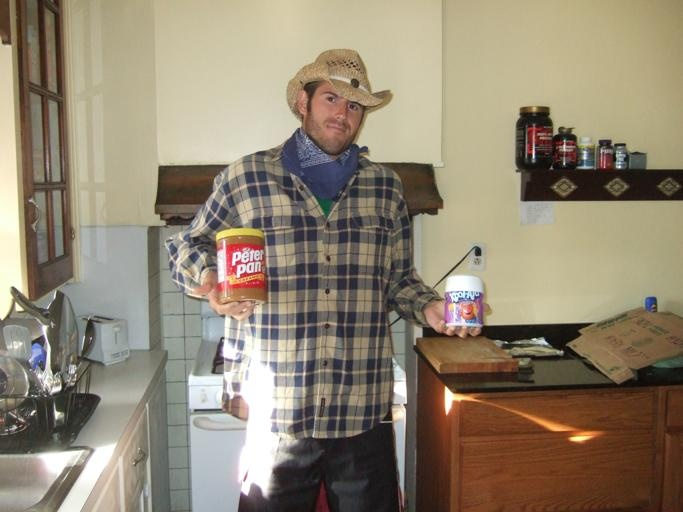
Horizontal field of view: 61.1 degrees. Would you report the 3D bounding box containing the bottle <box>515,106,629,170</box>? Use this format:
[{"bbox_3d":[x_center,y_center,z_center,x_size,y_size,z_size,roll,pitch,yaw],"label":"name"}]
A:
[{"bbox_3d":[1.064,-0.564,2.751,0.348,0.200,0.117,-1,6,-6],"label":"bottle"}]

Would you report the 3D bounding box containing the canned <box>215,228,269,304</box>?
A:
[{"bbox_3d":[-0.283,0.029,1.632,0.147,0.193,0.144,0,-10,-22],"label":"canned"}]

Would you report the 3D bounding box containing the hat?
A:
[{"bbox_3d":[0.003,-0.602,1.905,0.277,0.143,0.302,11,15,-16],"label":"hat"}]

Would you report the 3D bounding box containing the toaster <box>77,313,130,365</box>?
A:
[{"bbox_3d":[-1.101,0.379,2.630,0.261,0.177,0.261,-2,5,-42],"label":"toaster"}]
